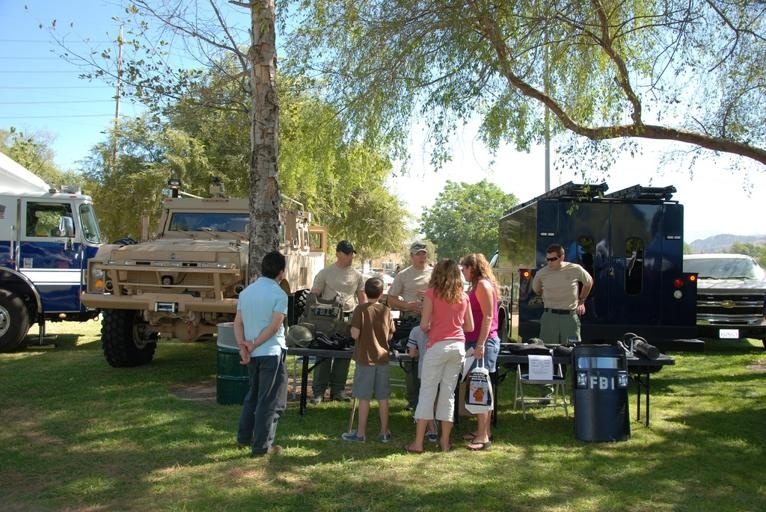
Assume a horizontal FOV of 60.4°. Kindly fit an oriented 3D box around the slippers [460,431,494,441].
[{"bbox_3d":[1.433,2.692,9.799,0.440,0.125,0.181,13,-21,-10],"label":"slippers"}]

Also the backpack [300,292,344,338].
[{"bbox_3d":[-0.965,0.959,10.651,0.449,0.665,0.350,10,-24,-8],"label":"backpack"}]

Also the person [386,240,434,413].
[{"bbox_3d":[0.603,1.180,10.718,0.986,2.792,0.815,-1,-4,-11],"label":"person"}]

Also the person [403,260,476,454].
[{"bbox_3d":[0.817,1.386,9.483,0.846,2.731,0.885,1,-2,-10],"label":"person"}]

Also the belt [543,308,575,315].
[{"bbox_3d":[2.987,0.919,11.093,0.478,0.095,0.111,3,7,12],"label":"belt"}]

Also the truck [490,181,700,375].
[{"bbox_3d":[4.594,0.543,14.649,2.894,3.169,5.104,0,-5,6],"label":"truck"}]

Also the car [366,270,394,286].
[{"bbox_3d":[-0.104,1.670,45.790,1.379,1.091,2.268,-1,-10,0],"label":"car"}]

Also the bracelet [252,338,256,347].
[{"bbox_3d":[-1.723,1.154,8.780,0.038,0.153,0.141,3,-31,-9],"label":"bracelet"}]

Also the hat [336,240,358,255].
[{"bbox_3d":[-0.633,-0.137,10.599,0.204,0.169,0.276,-2,-1,-43],"label":"hat"}]

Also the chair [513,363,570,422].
[{"bbox_3d":[2.688,2.060,11.215,0.764,1.346,0.919,0,-5,-6],"label":"chair"}]

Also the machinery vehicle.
[{"bbox_3d":[-3.577,0.413,14.756,2.758,3.319,5.398,-2,-3,9],"label":"machinery vehicle"}]

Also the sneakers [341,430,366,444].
[{"bbox_3d":[-0.427,2.618,9.512,0.356,0.174,0.140,8,-10,8],"label":"sneakers"}]

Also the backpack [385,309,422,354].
[{"bbox_3d":[0.329,1.197,10.325,0.465,0.693,0.216,1,-6,14],"label":"backpack"}]

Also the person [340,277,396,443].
[{"bbox_3d":[-0.205,1.488,9.522,0.691,2.365,0.358,0,6,-5],"label":"person"}]

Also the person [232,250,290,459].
[{"bbox_3d":[-1.662,1.326,8.950,0.693,2.736,0.440,0,6,-8],"label":"person"}]

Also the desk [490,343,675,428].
[{"bbox_3d":[2.970,2.242,10.679,2.870,1.320,1.081,-3,-7,14],"label":"desk"}]

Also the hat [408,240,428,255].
[{"bbox_3d":[0.591,-0.141,10.760,0.265,0.210,0.553,1,7,2],"label":"hat"}]
